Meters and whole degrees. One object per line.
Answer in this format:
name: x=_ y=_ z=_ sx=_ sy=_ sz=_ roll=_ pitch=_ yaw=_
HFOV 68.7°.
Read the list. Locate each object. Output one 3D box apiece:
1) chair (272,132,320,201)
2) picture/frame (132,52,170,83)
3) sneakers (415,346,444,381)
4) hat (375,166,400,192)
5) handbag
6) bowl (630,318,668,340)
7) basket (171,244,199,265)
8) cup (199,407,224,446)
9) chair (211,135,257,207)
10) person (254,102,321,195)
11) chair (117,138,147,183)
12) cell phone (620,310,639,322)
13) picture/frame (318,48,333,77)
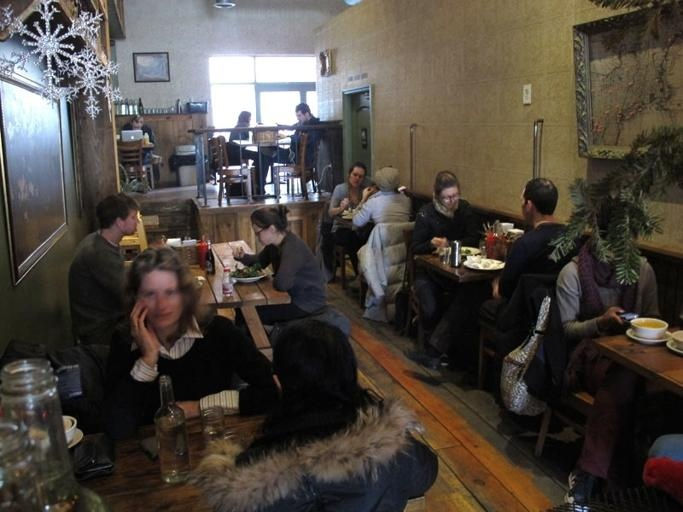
chair: x=-0.856 y=-1.610 z=8.909 sx=0.791 sy=1.127 sz=1.196 roll=-2 pitch=14 yaw=-3
picture/frame: x=-4.732 y=-4.624 z=12.260 sx=0.729 sy=0.659 sz=0.049 roll=-2 pitch=5 yaw=-22
sneakers: x=0.780 y=0.951 z=4.482 sx=0.165 sy=0.096 sz=0.412 roll=-4 pitch=19 yaw=-14
hat: x=0.534 y=-0.875 z=5.869 sx=0.233 sy=0.285 sz=0.300 roll=-14 pitch=8 yaw=-25
handbag: x=1.134 y=0.635 z=3.069 sx=0.284 sy=0.797 sz=0.157 roll=3 pitch=14 yaw=17
bowl: x=1.515 y=0.353 z=2.496 sx=0.116 sy=0.059 sz=0.123 roll=-1 pitch=6 yaw=0
basket: x=-1.150 y=-0.014 z=3.689 sx=0.098 sy=0.140 sz=0.140 roll=-6 pitch=14 yaw=-22
cup: x=-0.465 y=0.610 z=1.783 sx=0.103 sy=0.151 sz=0.092 roll=-1 pitch=-2 yaw=-6
chair: x=-1.909 y=-1.551 z=8.831 sx=0.687 sy=1.086 sz=1.991 roll=-4 pitch=14 yaw=-13
person: x=-0.957 y=-1.924 z=9.307 sx=0.928 sy=1.782 sz=0.714 roll=2 pitch=-10 yaw=5
chair: x=-4.374 y=-1.981 z=10.406 sx=0.466 sy=0.818 sz=0.651 roll=-7 pitch=15 yaw=-21
cell phone: x=1.521 y=0.319 z=2.672 sx=0.054 sy=0.032 sz=0.076 roll=0 pitch=3 yaw=1
picture/frame: x=-0.309 y=-3.650 z=9.458 sx=0.088 sy=0.690 sz=0.682 roll=-2 pitch=5 yaw=-19
